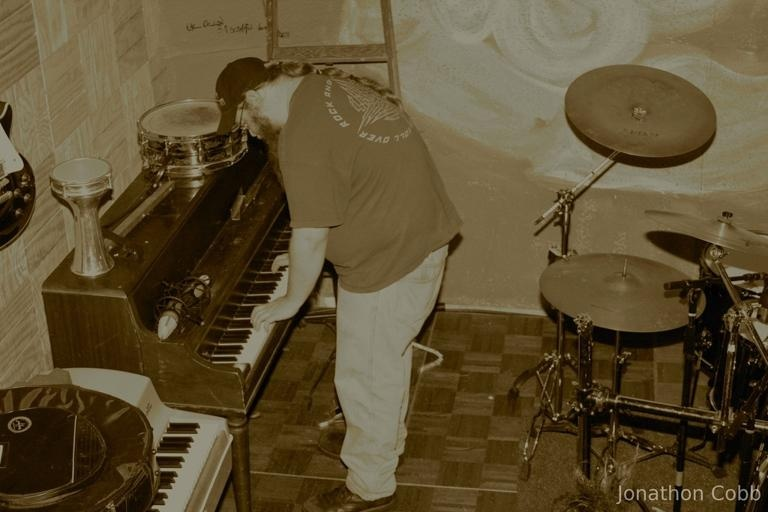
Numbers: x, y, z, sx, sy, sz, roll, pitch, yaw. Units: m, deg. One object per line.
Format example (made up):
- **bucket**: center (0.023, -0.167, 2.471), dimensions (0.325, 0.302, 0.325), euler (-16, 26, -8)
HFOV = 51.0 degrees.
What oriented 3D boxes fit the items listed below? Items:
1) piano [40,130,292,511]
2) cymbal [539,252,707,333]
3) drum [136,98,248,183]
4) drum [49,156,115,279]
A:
- **piano**: center (-1.173, 0.289, 4.173), dimensions (0.833, 1.287, 1.918), euler (2, 41, 4)
- **cymbal**: center (1.332, 0.182, 4.724), dimensions (0.822, 0.197, 0.651), euler (4, 31, 11)
- **drum**: center (-1.171, -0.685, 5.003), dimensions (0.640, 0.217, 0.599), euler (-3, 19, 1)
- **drum**: center (-1.524, -0.209, 4.150), dimensions (0.312, 0.514, 0.375), euler (-13, 33, -16)
